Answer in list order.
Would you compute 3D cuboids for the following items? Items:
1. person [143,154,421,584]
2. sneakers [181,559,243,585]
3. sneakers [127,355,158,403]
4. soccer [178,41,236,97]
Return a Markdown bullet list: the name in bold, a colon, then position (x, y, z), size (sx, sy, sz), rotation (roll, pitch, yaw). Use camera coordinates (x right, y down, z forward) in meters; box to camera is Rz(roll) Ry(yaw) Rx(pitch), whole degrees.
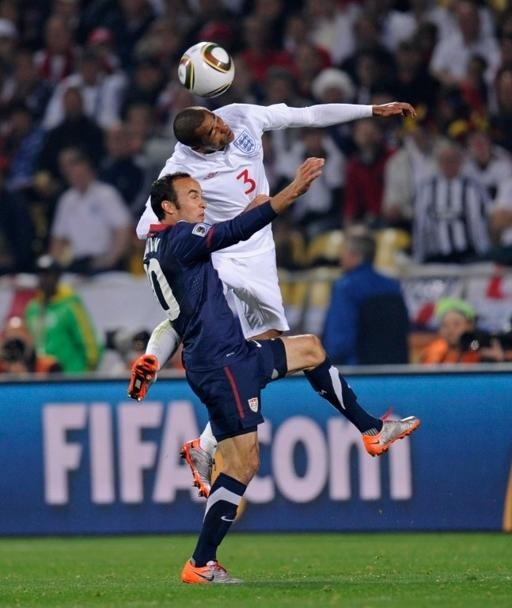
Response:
- **person**: position (-0.101, 0.311, 5.793), size (0.799, 1.938, 0.525), rotation (-3, 2, -5)
- **sneakers**: position (-0.225, 1.250, 5.727), size (0.307, 0.122, 0.104), rotation (4, -3, -5)
- **sneakers**: position (-0.563, 0.356, 5.921), size (0.145, 0.243, 0.098), rotation (30, -41, -20)
- **soccer**: position (-0.257, -1.208, 6.431), size (0.295, 0.299, 0.290), rotation (-1, 0, 6)
